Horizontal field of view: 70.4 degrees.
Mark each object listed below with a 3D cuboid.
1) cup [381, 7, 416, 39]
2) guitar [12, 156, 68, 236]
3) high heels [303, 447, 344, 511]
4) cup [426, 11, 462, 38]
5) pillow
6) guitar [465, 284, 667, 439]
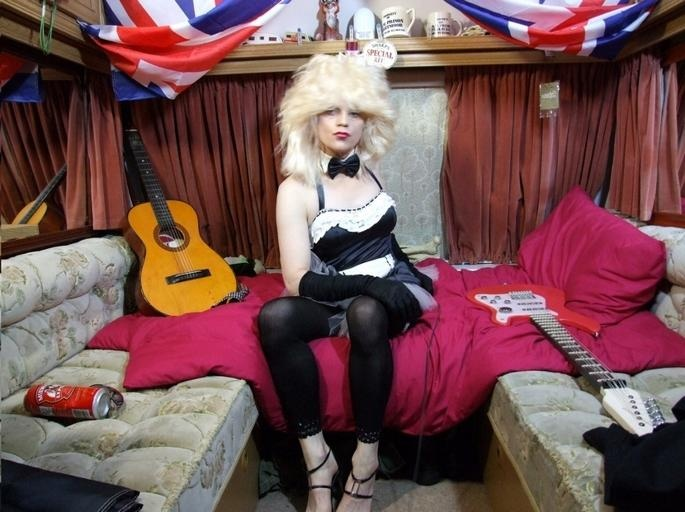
[{"bbox_3d":[0.276,-1.162,2.456,0.182,0.141,0.122,1,10,17],"label":"cup"},{"bbox_3d":[-1.462,-0.280,2.355,0.160,0.304,0.307,1,14,10],"label":"guitar"},{"bbox_3d":[-0.065,0.873,1.919,0.088,0.128,0.303,-14,0,5],"label":"high heels"},{"bbox_3d":[0.498,-1.154,2.482,0.194,0.144,0.118,-8,6,-27],"label":"cup"},{"bbox_3d":[1.148,0.001,2.219,0.462,0.359,0.931,-24,19,3],"label":"pillow"},{"bbox_3d":[0.882,0.347,1.884,0.235,0.091,0.765,-2,24,-8],"label":"guitar"}]
